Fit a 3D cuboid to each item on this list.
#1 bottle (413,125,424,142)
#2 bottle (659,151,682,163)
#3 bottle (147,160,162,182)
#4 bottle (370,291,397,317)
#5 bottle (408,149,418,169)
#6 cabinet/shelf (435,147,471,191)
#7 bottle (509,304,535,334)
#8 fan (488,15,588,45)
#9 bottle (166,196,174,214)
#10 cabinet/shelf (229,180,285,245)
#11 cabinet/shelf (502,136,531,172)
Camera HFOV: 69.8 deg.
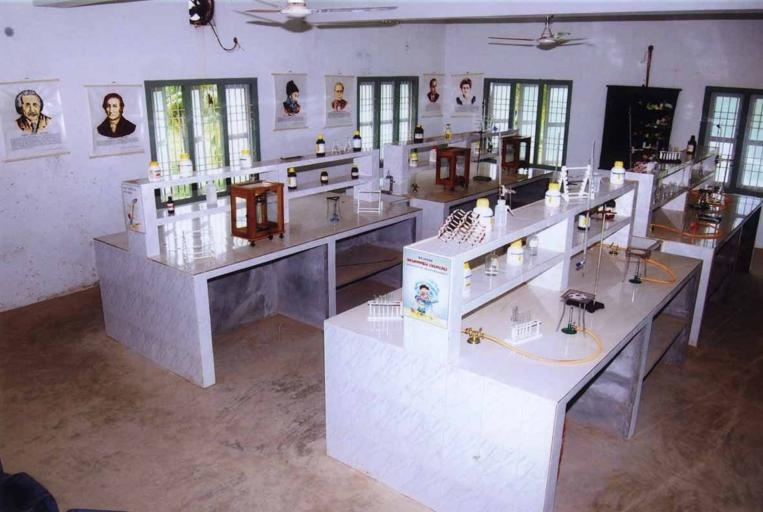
[{"bbox_3d":[0.606,-1.936,8.699,0.157,0.234,0.412,-1,20,4],"label":"bottle"},{"bbox_3d":[4.129,-1.400,7.806,0.229,0.144,0.300,2,8,19],"label":"bottle"},{"bbox_3d":[-2.544,-0.953,6.105,0.124,0.184,0.297,-10,22,-19],"label":"bottle"},{"bbox_3d":[0.026,0.399,5.148,0.312,0.259,0.179,3,23,9],"label":"bottle"},{"bbox_3d":[0.510,-1.543,8.807,0.105,0.216,0.331,1,21,8],"label":"bottle"},{"bbox_3d":[1.161,-1.402,8.911,0.618,0.767,0.619,14,26,34],"label":"cabinet/shelf"},{"bbox_3d":[1.320,0.597,5.110,0.212,0.230,0.019,-2,-2,-20],"label":"bottle"},{"bbox_3d":[3.186,-4.444,10.785,1.547,0.552,1.513,2,30,-1],"label":"fan"},{"bbox_3d":[-2.454,-0.579,6.349,0.078,0.200,0.264,-12,22,-23],"label":"bottle"},{"bbox_3d":[-1.522,-0.580,6.727,0.637,0.711,0.790,3,21,14],"label":"cabinet/shelf"},{"bbox_3d":[2.512,-1.892,10.202,0.397,0.686,0.757,7,16,33],"label":"cabinet/shelf"}]
